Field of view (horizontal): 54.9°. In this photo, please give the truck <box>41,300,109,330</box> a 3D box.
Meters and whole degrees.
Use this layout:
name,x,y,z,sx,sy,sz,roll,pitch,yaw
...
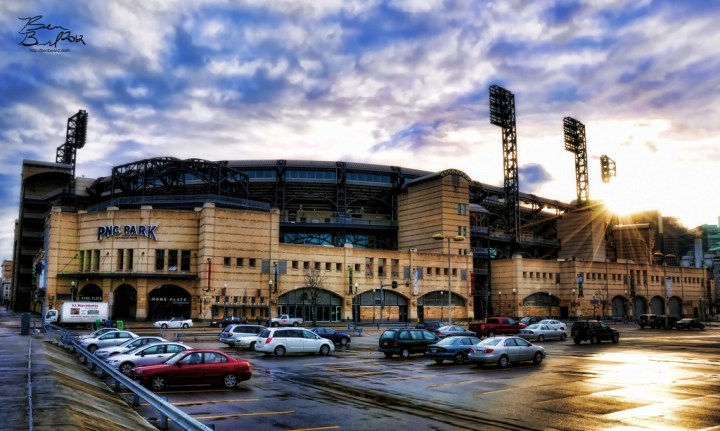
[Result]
name,x,y,z,sx,sy,sz,roll,pitch,yaw
truck,-38.457,12.571,88.175,11.446,3.875,3.612,1,-5,-25

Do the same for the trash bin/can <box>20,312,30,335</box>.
name,x,y,z,sx,sy,sz,roll,pitch,yaw
trash bin/can,-35.407,11.486,73.359,0.798,2.174,0.903,4,-14,-16
